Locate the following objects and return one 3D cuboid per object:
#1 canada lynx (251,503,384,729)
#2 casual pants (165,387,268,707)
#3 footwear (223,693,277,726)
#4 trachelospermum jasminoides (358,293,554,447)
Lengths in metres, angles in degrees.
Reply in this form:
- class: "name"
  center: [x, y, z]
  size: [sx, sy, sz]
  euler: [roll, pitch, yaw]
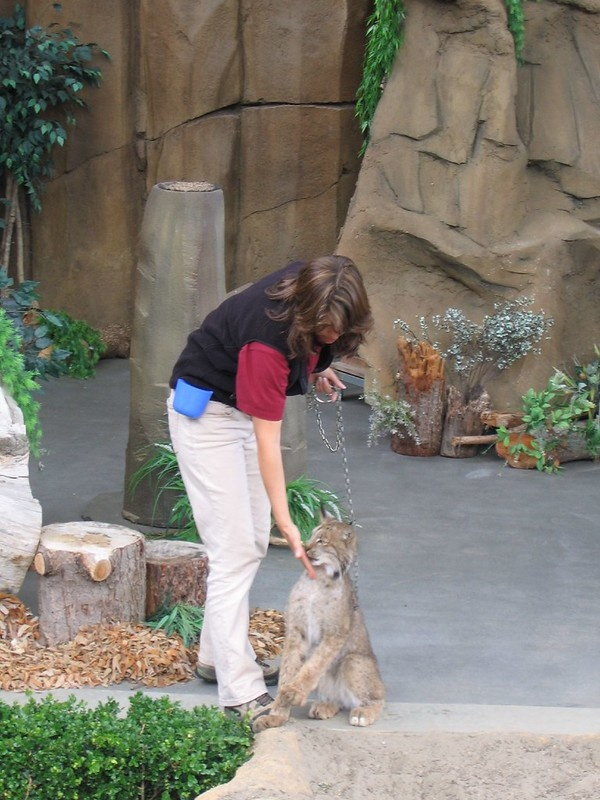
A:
- class: "canada lynx"
  center: [0.109, 0.843, 4.879]
  size: [0.363, 0.757, 0.687]
  euler: [-2, -5, 40]
- class: "casual pants"
  center: [-0.242, 0.556, 4.952]
  size: [0.580, 1.028, 0.640]
  euler: [-8, 19, -26]
- class: "footwear"
  center: [-0.171, 1.152, 4.815]
  size: [0.223, 0.077, 0.070]
  euler: [-11, 18, 15]
- class: "trachelospermum jasminoides"
  center: [1.130, -0.175, 9.520]
  size: [1.346, 1.122, 0.833]
  euler: [0, 6, -12]
